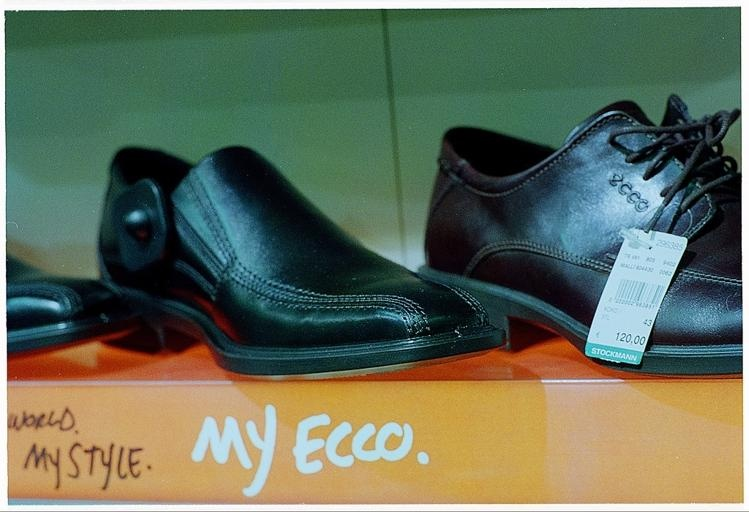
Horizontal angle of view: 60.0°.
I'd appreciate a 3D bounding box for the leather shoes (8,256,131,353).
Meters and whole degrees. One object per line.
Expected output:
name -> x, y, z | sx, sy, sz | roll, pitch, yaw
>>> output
leather shoes -> -0.417, 0.072, 0.902 | 0.149, 0.056, 0.102 | -1, 5, -24
